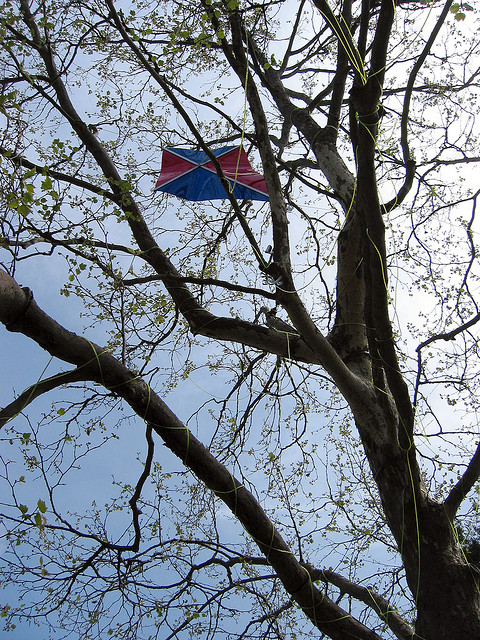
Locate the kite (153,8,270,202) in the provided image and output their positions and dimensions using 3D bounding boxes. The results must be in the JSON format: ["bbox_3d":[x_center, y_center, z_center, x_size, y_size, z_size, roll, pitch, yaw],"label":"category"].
[{"bbox_3d":[-0.153,-1.776,8.349,1.023,1.994,0.109,4,-38,3],"label":"kite"}]
